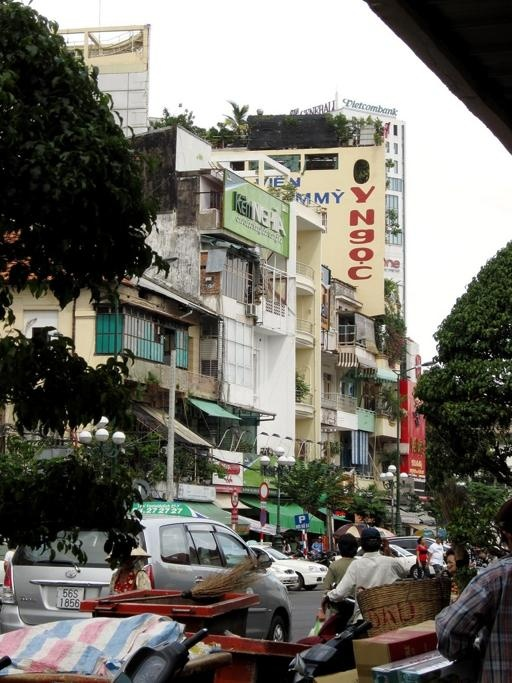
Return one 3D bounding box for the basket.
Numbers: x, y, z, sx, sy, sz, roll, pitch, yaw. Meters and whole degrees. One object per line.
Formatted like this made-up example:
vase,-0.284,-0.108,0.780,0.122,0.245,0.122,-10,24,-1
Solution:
basket,0.748,1.402,6.541,0.347,0.227,0.308,-18,-13,28
